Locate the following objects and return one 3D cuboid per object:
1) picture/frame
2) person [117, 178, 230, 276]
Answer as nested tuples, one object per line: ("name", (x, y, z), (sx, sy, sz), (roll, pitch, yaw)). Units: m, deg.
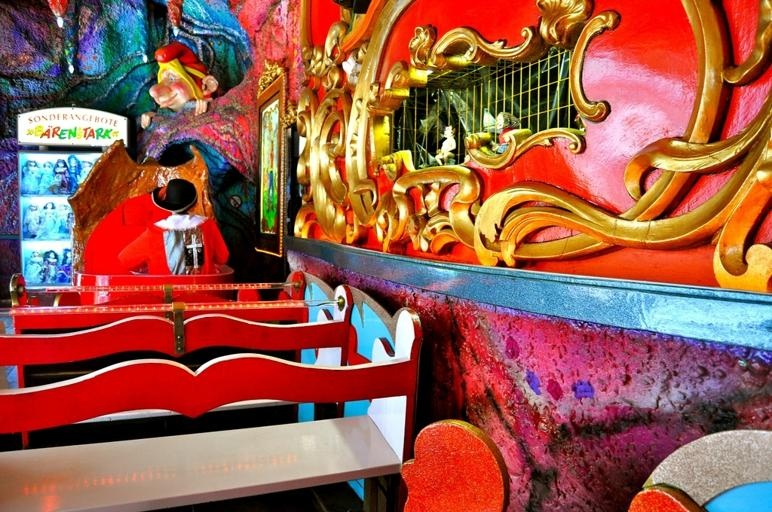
("picture/frame", (-0.877, -0.753, 4.749), (0.082, 1.969, 1.685), (1, 1, -17))
("person", (-1.512, -0.133, 4.444), (0.784, 0.864, 0.343), (-6, 26, -26))
